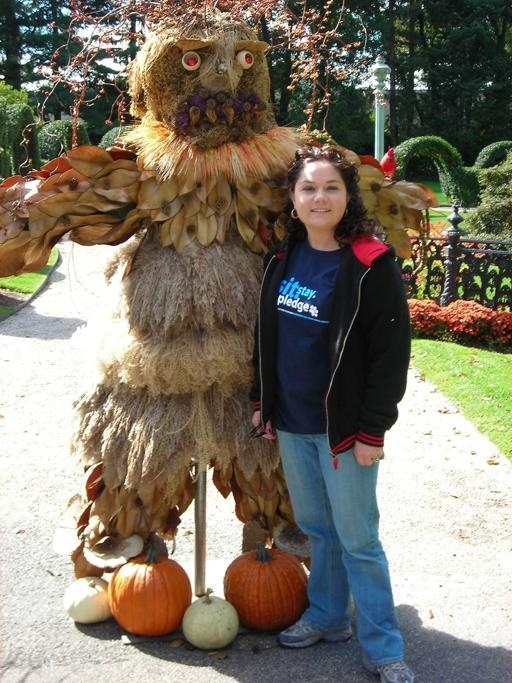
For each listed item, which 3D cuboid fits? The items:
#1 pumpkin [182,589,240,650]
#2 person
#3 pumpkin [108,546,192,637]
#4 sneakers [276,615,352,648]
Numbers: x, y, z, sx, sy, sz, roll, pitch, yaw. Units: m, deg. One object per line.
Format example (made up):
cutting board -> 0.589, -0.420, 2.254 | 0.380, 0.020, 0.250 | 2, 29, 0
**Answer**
pumpkin -> -0.201, 0.996, 2.418 | 0.239, 0.205, 0.213 | -1, 15, -12
person -> 0.263, 0.271, 2.121 | 0.336, 1.763, 0.703 | -9, 18, -29
pumpkin -> -0.398, 0.921, 2.411 | 0.280, 0.327, 0.171 | 2, 16, 7
sneakers -> 0.204, 1.075, 2.428 | 0.286, 0.106, 0.094 | 2, -2, -11
